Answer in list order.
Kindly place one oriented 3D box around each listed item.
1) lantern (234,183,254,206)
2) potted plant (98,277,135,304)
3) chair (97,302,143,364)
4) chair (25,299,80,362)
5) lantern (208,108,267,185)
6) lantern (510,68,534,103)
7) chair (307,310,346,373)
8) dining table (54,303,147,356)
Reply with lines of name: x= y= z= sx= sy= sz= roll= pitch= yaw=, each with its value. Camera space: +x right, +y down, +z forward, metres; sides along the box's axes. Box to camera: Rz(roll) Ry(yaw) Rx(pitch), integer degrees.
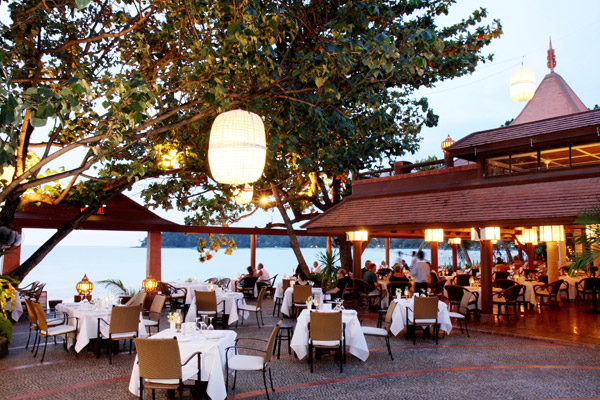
lantern: x=-1.521 y=-0.112 z=12.585 sx=0.605 sy=0.719 sz=0.601 roll=-4 pitch=7 yaw=-34
potted plant: x=-6.853 y=3.299 z=17.790 sx=1.316 sy=0.576 sz=1.249 roll=4 pitch=-10 yaw=-6
chair: x=-4.479 y=3.005 z=11.742 sx=1.017 sy=2.022 sz=1.066 roll=2 pitch=-3 yaw=-39
chair: x=-6.161 y=3.182 z=12.036 sx=1.044 sy=1.824 sz=0.954 roll=5 pitch=-7 yaw=-42
lantern: x=-1.055 y=-0.884 z=7.945 sx=0.917 sy=1.168 sz=0.420 roll=1 pitch=-10 yaw=-12
lantern: x=8.166 y=-4.325 z=17.797 sx=0.834 sy=1.339 sz=0.417 roll=-7 pitch=-11 yaw=26
chair: x=0.595 y=3.252 z=11.172 sx=0.847 sy=1.353 sz=0.939 roll=-2 pitch=-10 yaw=3
dining table: x=-5.254 y=2.970 z=11.930 sx=1.379 sy=0.617 sz=1.595 roll=-1 pitch=2 yaw=-33
